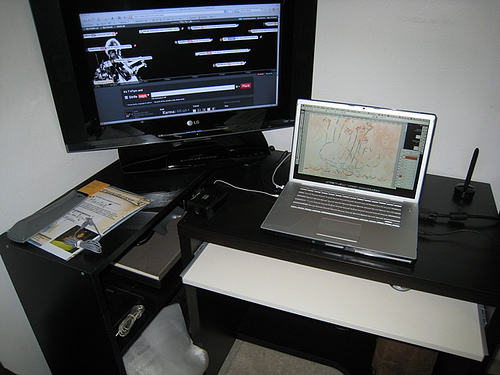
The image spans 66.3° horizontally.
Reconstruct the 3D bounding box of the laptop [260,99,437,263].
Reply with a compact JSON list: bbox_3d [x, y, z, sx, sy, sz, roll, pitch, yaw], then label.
[{"bbox_3d":[0.337,-0.044,1.287,0.495,0.423,0.383,9,28,21],"label":"laptop"}]

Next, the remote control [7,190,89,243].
[{"bbox_3d":[-0.704,0.081,1.347,0.109,0.034,0.239,18,36,22],"label":"remote control"}]
